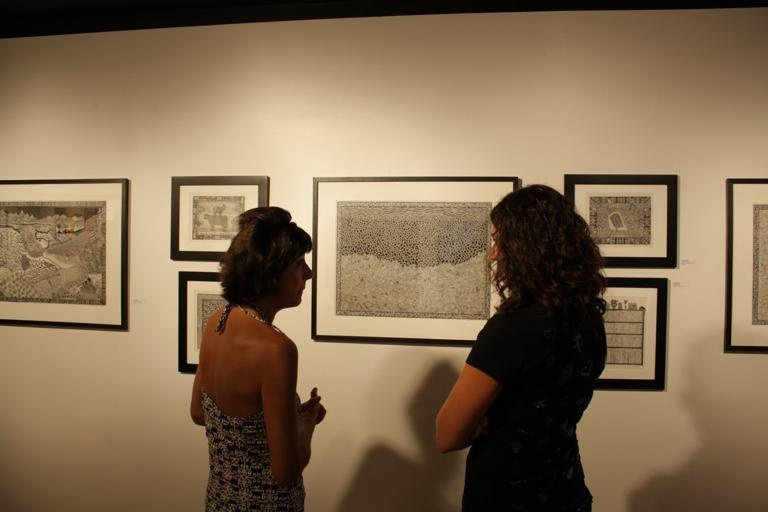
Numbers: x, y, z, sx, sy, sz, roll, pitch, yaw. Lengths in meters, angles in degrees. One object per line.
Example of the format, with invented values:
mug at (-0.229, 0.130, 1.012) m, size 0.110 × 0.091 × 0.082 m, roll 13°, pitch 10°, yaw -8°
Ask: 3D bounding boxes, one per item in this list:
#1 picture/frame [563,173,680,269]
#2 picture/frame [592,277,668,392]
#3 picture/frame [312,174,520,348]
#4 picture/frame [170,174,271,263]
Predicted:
picture/frame at (1.478, -0.206, 4.185) m, size 0.555 × 0.497 × 0.048 m, roll 2°, pitch -2°, yaw -5°
picture/frame at (1.526, 0.482, 4.203) m, size 0.704 × 0.857 × 0.062 m, roll 0°, pitch 0°, yaw 1°
picture/frame at (0.244, 0.017, 4.259) m, size 1.034 × 0.842 × 0.037 m, roll 2°, pitch 1°, yaw -2°
picture/frame at (-1.003, -0.235, 4.247) m, size 0.539 × 0.497 × 0.040 m, roll 1°, pitch 0°, yaw 4°
